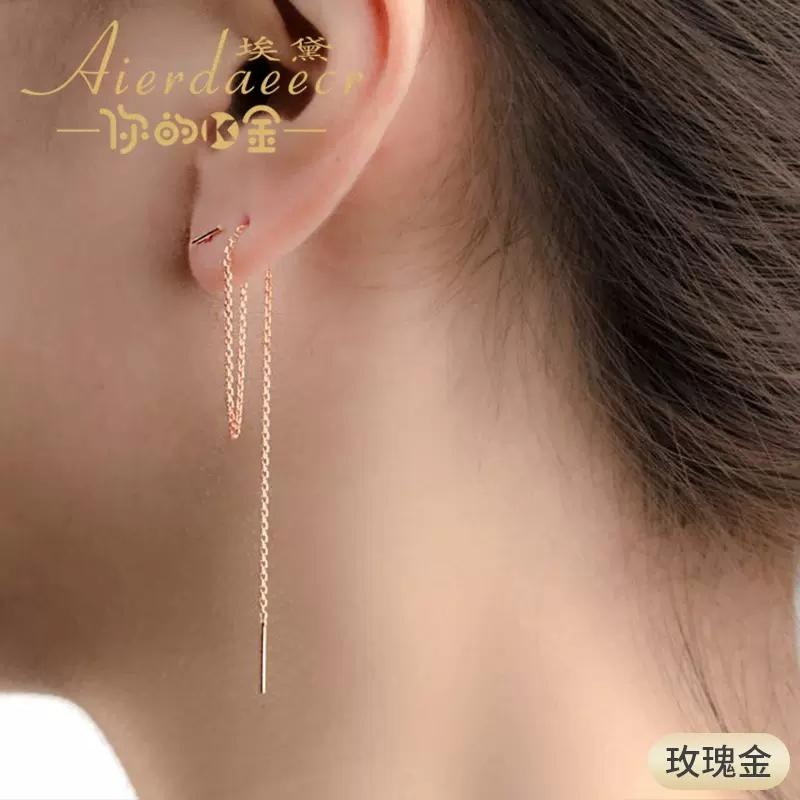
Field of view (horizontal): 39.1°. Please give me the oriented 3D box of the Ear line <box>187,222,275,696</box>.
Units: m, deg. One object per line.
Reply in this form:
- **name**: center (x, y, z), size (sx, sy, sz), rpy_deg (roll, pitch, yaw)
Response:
- **Ear line**: center (-0.167, 0.075, 1.113), size (0.082, 0.433, 0.059), rpy_deg (-1, -12, -1)
